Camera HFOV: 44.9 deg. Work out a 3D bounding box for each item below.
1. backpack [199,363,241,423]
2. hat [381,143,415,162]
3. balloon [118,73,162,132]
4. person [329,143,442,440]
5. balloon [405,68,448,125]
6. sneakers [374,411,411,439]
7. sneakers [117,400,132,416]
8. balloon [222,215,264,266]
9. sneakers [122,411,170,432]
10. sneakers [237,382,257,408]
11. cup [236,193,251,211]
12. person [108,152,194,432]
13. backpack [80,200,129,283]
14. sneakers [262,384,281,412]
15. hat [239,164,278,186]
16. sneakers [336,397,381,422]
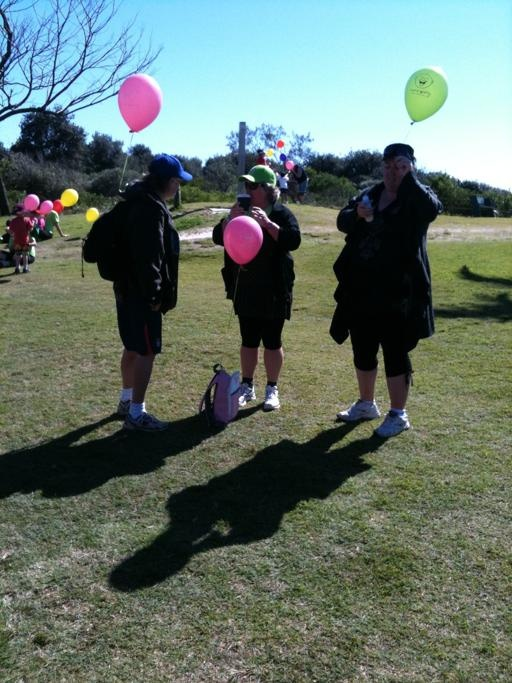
[{"bbox_3d":[-0.255,0.416,4.490,0.281,0.429,0.390,-3,-8,2],"label":"backpack"},{"bbox_3d":[0.883,-1.169,3.826,0.193,0.098,0.216,4,11,11],"label":"hat"},{"bbox_3d":[-0.892,-1.818,4.713,0.309,0.401,0.251,4,11,9],"label":"balloon"},{"bbox_3d":[0.814,-0.296,4.105,0.530,1.920,0.686,-7,14,-42],"label":"person"},{"bbox_3d":[1.253,-1.792,4.512,0.215,0.349,0.290,-3,12,-27],"label":"balloon"},{"bbox_3d":[0.945,0.556,4.305,0.286,0.133,0.126,-23,21,-29],"label":"sneakers"},{"bbox_3d":[-0.939,0.487,4.435,0.046,0.126,0.089,4,19,7],"label":"sneakers"},{"bbox_3d":[-0.082,-0.650,3.982,0.297,0.358,0.296,11,15,27],"label":"balloon"},{"bbox_3d":[-0.761,0.568,4.290,0.307,0.132,0.113,2,5,-10],"label":"sneakers"},{"bbox_3d":[-0.069,0.430,4.868,0.090,0.097,0.223,-1,-3,16],"label":"sneakers"},{"bbox_3d":[-0.084,-0.957,4.239,0.115,0.136,0.111,-1,20,0],"label":"cup"},{"bbox_3d":[-0.726,-0.276,3.990,0.395,1.842,0.466,3,11,5],"label":"person"},{"bbox_3d":[-0.912,-0.623,3.935,0.202,0.455,0.351,16,28,14],"label":"backpack"},{"bbox_3d":[0.122,0.458,4.819,0.182,0.221,0.503,-1,-3,4],"label":"sneakers"},{"bbox_3d":[0.032,-1.151,4.362,0.216,0.110,0.150,7,23,-28],"label":"hat"},{"bbox_3d":[0.757,0.518,4.604,0.337,0.154,0.135,0,4,-3],"label":"sneakers"}]
